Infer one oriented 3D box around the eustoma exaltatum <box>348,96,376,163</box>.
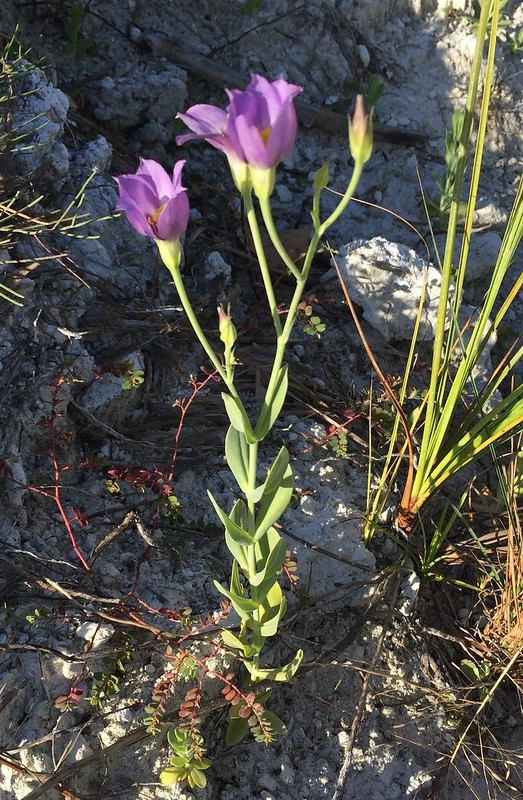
[{"bbox_3d":[0.144,-0.400,1.008,0.040,0.035,0.107,0,89,9],"label":"eustoma exaltatum"}]
